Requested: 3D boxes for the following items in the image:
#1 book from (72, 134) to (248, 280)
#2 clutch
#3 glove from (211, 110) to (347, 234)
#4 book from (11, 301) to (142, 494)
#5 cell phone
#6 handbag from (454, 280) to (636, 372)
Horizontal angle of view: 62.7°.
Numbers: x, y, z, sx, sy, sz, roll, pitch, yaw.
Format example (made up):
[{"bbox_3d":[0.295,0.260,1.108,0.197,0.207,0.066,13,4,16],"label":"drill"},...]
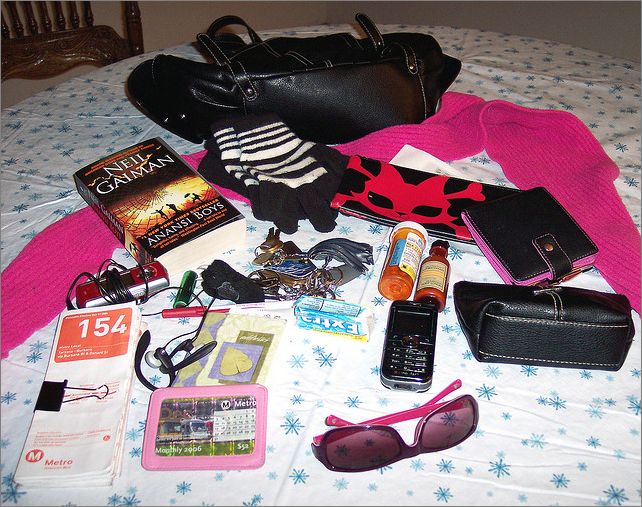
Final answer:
[{"bbox_3d":[-0.324,-0.105,1.255,0.323,0.096,0.441,-30,55,-25],"label":"book"},{"bbox_3d":[0.444,-0.037,1.128,0.238,0.074,0.202,-16,54,-12],"label":"clutch"},{"bbox_3d":[-0.114,-0.188,1.337,0.384,0.091,0.283,33,47,30],"label":"glove"},{"bbox_3d":[-0.434,0.227,0.922,0.200,0.039,0.262,-4,55,0],"label":"book"},{"bbox_3d":[0.169,0.177,1.002,0.108,0.050,0.167,8,55,15],"label":"cell phone"},{"bbox_3d":[0.403,0.131,1.002,0.322,0.085,0.144,1,56,5],"label":"handbag"}]
